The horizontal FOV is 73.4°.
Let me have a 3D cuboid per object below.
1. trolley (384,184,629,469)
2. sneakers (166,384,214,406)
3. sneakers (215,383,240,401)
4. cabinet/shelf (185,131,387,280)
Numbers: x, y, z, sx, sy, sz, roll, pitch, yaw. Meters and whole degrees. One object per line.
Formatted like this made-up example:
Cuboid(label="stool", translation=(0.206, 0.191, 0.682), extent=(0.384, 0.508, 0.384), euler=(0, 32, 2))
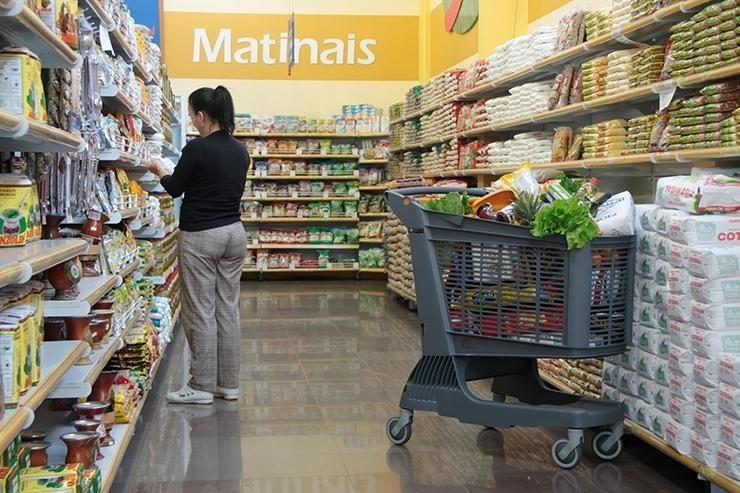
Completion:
Cuboid(label="trolley", translation=(0.875, 0.436, 3.037), extent=(0.963, 1.427, 1.454), euler=(3, -4, -33))
Cuboid(label="sneakers", translation=(-1.352, 1.141, 3.820), extent=(0.382, 0.153, 0.127), euler=(5, -10, -3))
Cuboid(label="sneakers", translation=(-1.132, 1.135, 3.898), extent=(0.083, 0.090, 0.225), euler=(-1, 6, -44))
Cuboid(label="cabinet/shelf", translation=(-1.146, -0.669, 7.662), extent=(3.155, 2.604, 1.075), euler=(0, 4, 1))
